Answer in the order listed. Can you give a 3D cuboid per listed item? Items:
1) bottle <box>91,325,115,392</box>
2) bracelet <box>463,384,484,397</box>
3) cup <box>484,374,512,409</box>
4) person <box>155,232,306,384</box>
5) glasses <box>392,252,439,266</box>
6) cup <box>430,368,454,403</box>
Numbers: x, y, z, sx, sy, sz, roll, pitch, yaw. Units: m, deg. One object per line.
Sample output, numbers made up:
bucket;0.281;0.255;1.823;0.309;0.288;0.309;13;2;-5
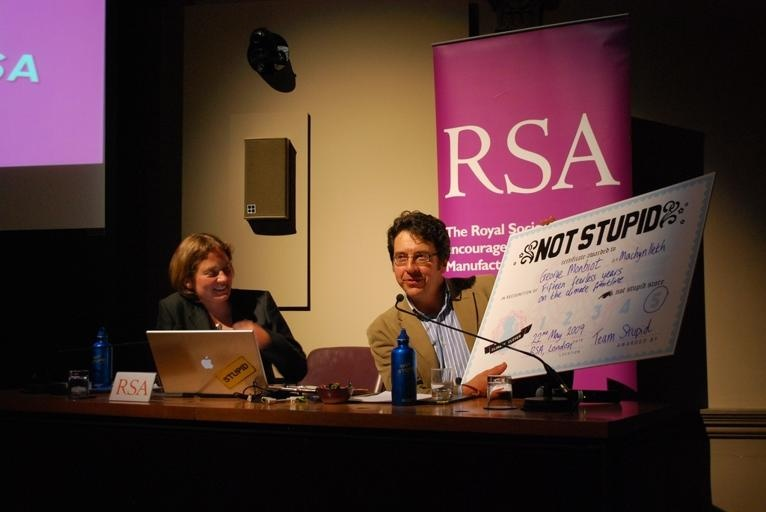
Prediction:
bottle;-1.618;0.581;3.975;0.111;0.294;0.300;1;0;-24
bracelet;0.471;0.689;3.544;0.089;0.053;0.074;-2;-6;35
cup;0.548;0.656;3.364;0.151;0.155;0.139;0;-8;0
person;-0.921;0.331;4.273;0.685;0.720;1.231;-5;28;-36
glasses;0.195;0.015;4.141;0.240;0.073;0.060;1;0;3
cup;0.296;0.641;3.502;0.128;0.159;0.137;-2;-12;0
